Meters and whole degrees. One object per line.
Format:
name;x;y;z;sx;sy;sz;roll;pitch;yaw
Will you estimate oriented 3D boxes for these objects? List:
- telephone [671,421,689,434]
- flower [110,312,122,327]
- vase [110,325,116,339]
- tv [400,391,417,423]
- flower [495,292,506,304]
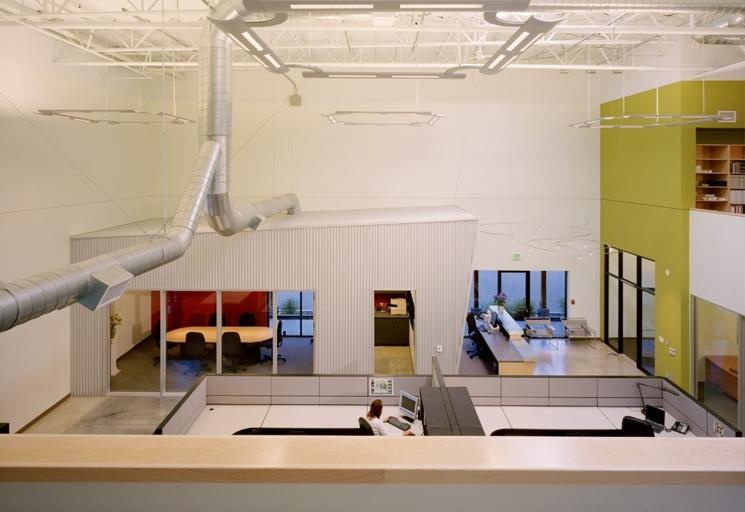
telephone;4.748;2.644;8.506;0.170;0.171;0.061;1;-70;-3
flower;-5.468;1.369;11.749;0.241;0.233;0.143;-1;-86;-26
vase;-5.521;1.618;11.743;0.131;0.091;0.272;12;-70;-7
tv;0.562;2.436;8.847;0.145;0.366;0.362;12;-101;-46
flower;3.947;1.325;16.867;0.363;0.326;0.350;-5;-76;-8
